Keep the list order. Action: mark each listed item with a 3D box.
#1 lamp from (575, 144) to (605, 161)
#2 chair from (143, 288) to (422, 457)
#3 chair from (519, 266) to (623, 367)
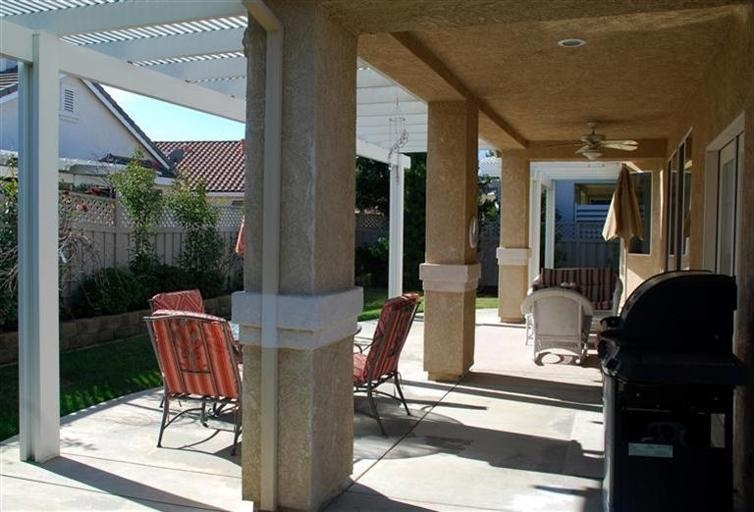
[{"bbox_3d":[2.884,-1.399,8.293,0.390,0.164,0.393,2,-1,12],"label":"lamp"},{"bbox_3d":[-0.763,0.910,5.418,2.168,1.318,1.261,0,3,0],"label":"chair"},{"bbox_3d":[2.547,0.729,8.085,1.120,0.976,1.538,0,15,17],"label":"chair"}]
